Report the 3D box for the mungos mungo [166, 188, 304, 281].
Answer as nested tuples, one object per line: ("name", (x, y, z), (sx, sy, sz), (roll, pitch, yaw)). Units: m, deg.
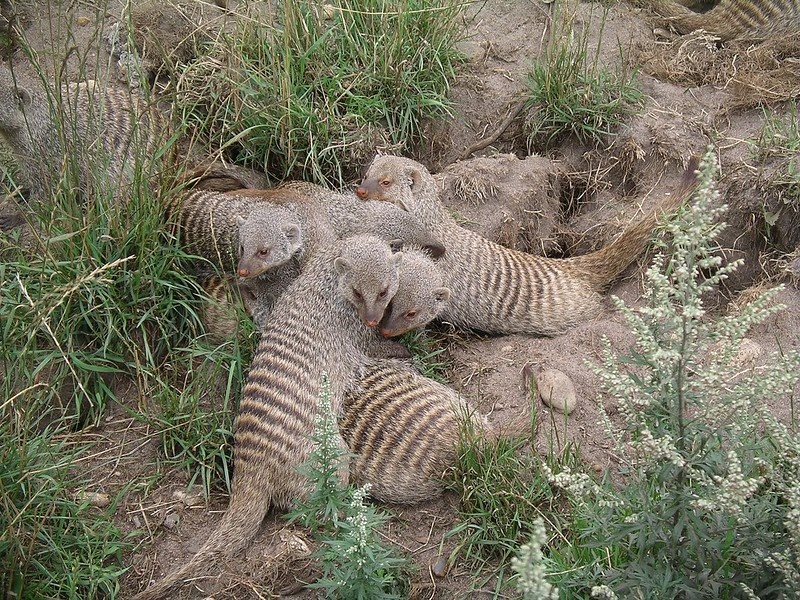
("mungos mungo", (-0.959, -0.417, 4.540), (0.752, 0.334, 0.463), (25, 58, 24))
